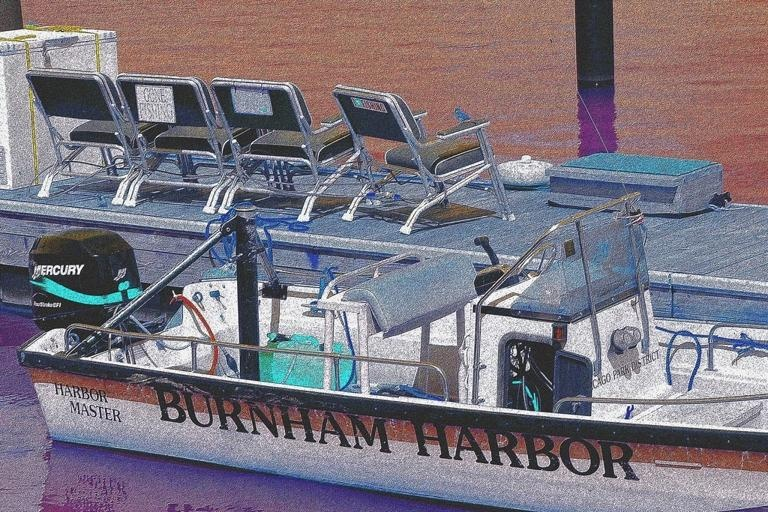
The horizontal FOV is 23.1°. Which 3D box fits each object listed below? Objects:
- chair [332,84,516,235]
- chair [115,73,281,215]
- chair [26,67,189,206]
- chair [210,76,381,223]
[{"bbox_3d":[0.448,-1.086,17.835,1.840,1.363,1.508,-19,25,-39],"label":"chair"},{"bbox_3d":[-1.954,-1.169,17.820,1.363,1.311,1.604,7,21,20],"label":"chair"},{"bbox_3d":[-3.156,-1.163,18.047,1.613,1.217,1.092,3,16,26],"label":"chair"},{"bbox_3d":[-0.678,-1.159,18.086,1.470,1.257,1.639,8,20,24],"label":"chair"}]
